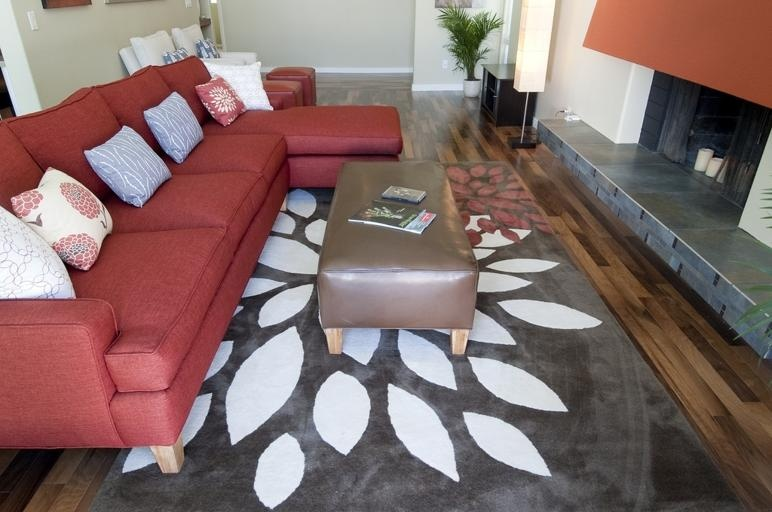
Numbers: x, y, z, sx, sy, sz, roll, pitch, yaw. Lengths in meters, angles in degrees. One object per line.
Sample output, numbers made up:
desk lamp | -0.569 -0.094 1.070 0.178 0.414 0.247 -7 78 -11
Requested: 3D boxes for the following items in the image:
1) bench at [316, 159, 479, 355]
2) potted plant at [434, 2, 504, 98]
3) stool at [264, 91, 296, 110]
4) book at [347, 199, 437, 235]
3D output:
bench | 0.038 0.222 3.056 0.956 0.683 1.461 -1 42 1
potted plant | 1.235 -3.034 7.234 0.817 1.220 0.737 -8 33 -10
stool | -1.066 -1.620 4.970 0.267 0.201 0.249 1 39 -4
book | 0.061 -0.242 2.898 0.344 0.033 0.237 13 36 21
